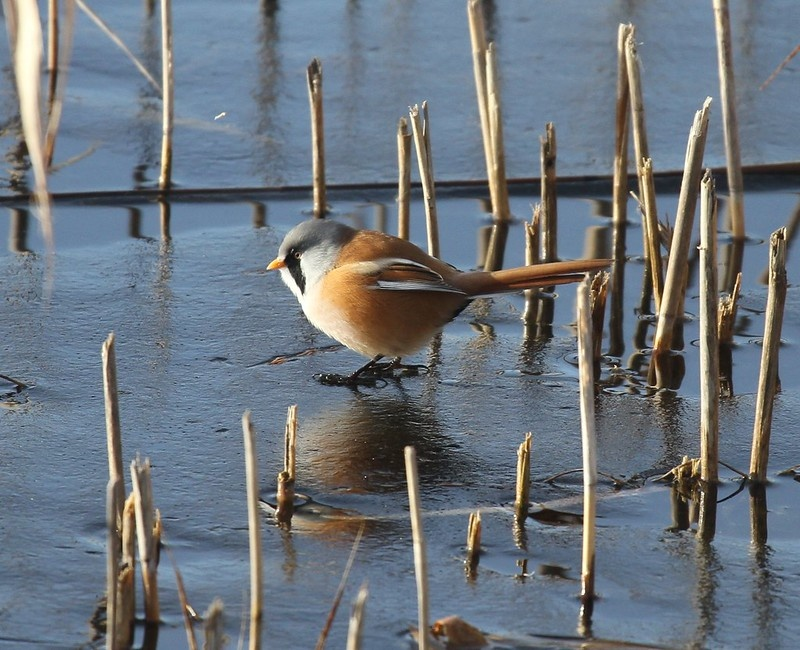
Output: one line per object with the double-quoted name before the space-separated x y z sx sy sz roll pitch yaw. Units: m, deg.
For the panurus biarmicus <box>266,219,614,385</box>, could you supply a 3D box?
"panurus biarmicus" 0.052 -0.255 5.727 1.186 0.668 0.874 -26 65 -15
